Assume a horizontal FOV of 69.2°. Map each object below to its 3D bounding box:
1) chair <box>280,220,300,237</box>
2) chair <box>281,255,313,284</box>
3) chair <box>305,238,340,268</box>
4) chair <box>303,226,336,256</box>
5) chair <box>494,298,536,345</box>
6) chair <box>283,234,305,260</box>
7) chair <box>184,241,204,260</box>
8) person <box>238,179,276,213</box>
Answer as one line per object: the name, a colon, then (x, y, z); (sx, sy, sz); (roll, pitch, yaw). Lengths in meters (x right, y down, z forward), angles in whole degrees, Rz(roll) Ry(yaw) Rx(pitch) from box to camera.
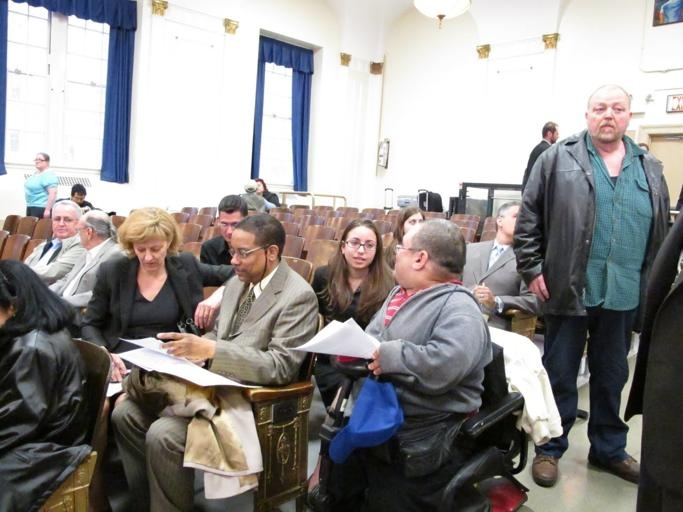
chair: (-0.552, -0.284, 5.397); (0.167, 0.225, 0.186); (1, 0, 13)
chair: (-0.279, 0.089, 3.049); (0.140, 0.264, 0.177); (2, 0, 23)
chair: (-0.172, -0.016, 3.867); (0.211, 0.303, 0.242); (3, 0, 24)
chair: (-0.259, -0.156, 5.062); (0.273, 0.398, 0.321); (2, 1, 13)
chair: (1.000, 0.370, 2.887); (0.259, 0.264, 0.162); (-3, 4, -40)
chair: (-0.380, -0.071, 4.198); (0.183, 0.273, 0.192); (2, -1, 24)
chair: (-1.073, -0.037, 3.619); (0.140, 0.187, 0.166); (0, 14, -11)
person: (-1.164, -0.856, 7.093); (0.390, 0.439, 1.609); (0, 8, -8)
